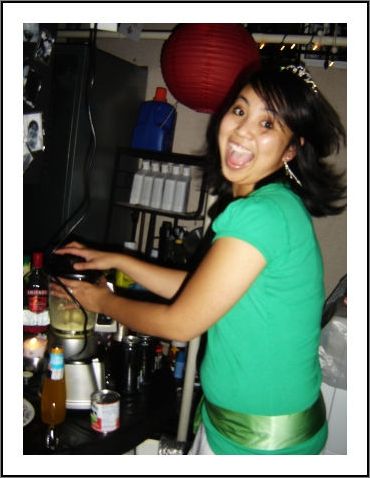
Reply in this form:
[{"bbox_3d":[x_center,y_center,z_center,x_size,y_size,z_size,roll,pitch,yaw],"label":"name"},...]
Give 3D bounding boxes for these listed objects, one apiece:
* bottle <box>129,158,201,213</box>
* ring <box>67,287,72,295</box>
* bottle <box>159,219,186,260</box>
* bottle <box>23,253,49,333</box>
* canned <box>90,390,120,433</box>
[{"bbox_3d":[-0.112,-0.273,1.901,0.274,0.281,0.106,13,2,14],"label":"bottle"},{"bbox_3d":[-0.306,0.140,0.998,0.011,0.017,0.004,-19,22,47],"label":"ring"},{"bbox_3d":[-0.058,0.008,1.900,0.130,0.198,0.055,6,-1,11],"label":"bottle"},{"bbox_3d":[-0.567,0.235,1.424,0.092,0.247,0.065,1,1,-23],"label":"bottle"},{"bbox_3d":[-0.246,0.550,1.229,0.100,0.123,0.105,1,3,2],"label":"canned"}]
